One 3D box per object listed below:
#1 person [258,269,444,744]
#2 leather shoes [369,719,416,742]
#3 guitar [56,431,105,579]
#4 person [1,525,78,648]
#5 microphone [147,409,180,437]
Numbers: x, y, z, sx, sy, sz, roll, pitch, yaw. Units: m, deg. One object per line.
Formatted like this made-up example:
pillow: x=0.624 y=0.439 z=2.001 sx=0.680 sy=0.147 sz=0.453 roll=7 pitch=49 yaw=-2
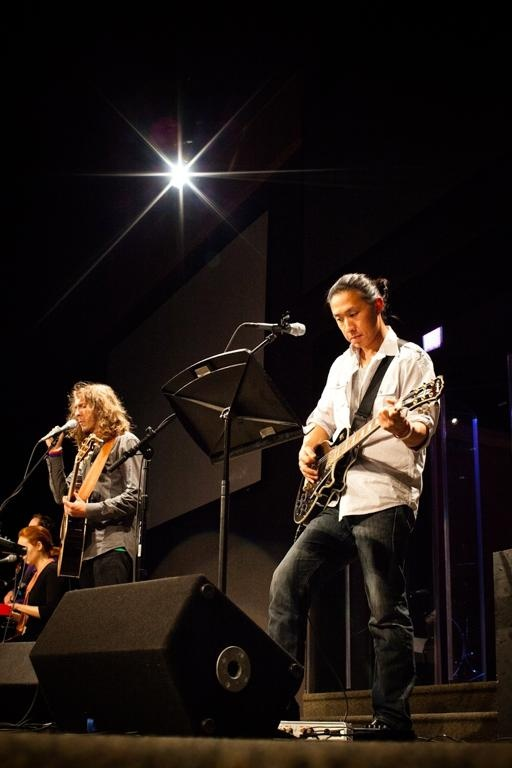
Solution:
person: x=0.348 y=0.269 z=2.516 sx=0.456 sy=1.695 sz=0.675 roll=20 pitch=-25 yaw=-36
leather shoes: x=0.378 y=0.965 z=2.029 sx=0.126 sy=0.045 sz=0.243 roll=2 pitch=-23 yaw=11
guitar: x=-0.852 y=0.572 z=3.536 sx=0.166 sy=0.736 sz=0.450 roll=10 pitch=-21 yaw=-13
person: x=-1.220 y=1.105 z=4.008 sx=0.343 sy=0.475 sz=1.154 roll=11 pitch=14 yaw=-19
microphone: x=-0.709 y=0.291 z=5.532 sx=0.099 sy=0.243 sz=0.755 roll=43 pitch=-12 yaw=0
